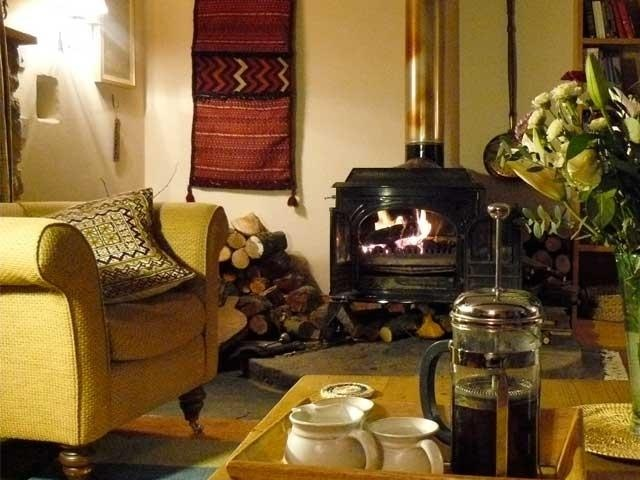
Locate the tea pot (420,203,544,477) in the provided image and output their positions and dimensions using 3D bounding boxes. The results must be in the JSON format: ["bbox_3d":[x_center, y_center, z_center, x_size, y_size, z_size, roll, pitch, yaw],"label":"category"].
[{"bbox_3d":[0.226,0.156,0.789,0.200,0.419,0.169,4,7,34],"label":"tea pot"}]

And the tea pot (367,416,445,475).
[{"bbox_3d":[0.116,0.286,0.733,0.096,0.050,0.094,0,6,0],"label":"tea pot"}]

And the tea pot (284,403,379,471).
[{"bbox_3d":[0.017,0.258,0.747,0.078,0.066,0.096,-1,6,-34],"label":"tea pot"}]
